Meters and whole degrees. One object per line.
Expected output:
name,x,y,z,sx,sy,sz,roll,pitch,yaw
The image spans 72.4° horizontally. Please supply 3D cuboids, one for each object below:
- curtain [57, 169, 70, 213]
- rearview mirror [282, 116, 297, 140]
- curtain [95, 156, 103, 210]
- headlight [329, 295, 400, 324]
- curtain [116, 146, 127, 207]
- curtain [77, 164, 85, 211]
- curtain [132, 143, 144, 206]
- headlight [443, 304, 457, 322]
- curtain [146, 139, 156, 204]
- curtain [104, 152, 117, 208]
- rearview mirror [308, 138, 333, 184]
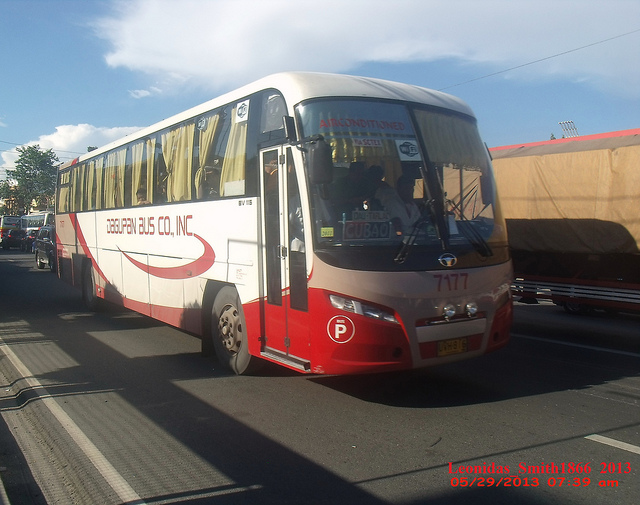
curtain,-8.339,-1.975,14.264,0.072,1.606,1.522,5,-2,-43
rearview mirror,-0.350,-1.437,5.051,0.141,0.282,0.084,0,1,-23
curtain,-5.806,-1.822,11.507,0.149,1.328,0.789,0,1,-32
headlight,0.461,0.607,4.704,0.724,0.292,0.083,0,1,2
curtain,-4.653,-1.880,10.277,0.388,1.494,0.105,-1,-2,22
curtain,-6.873,-1.860,12.650,0.124,1.332,0.573,0,1,-27
curtain,-3.972,-1.681,9.490,0.176,1.329,0.782,0,1,-31
headlight,1.445,0.671,4.937,0.182,0.271,0.085,-5,12,-32
curtain,-3.448,-1.654,8.901,0.127,1.291,0.569,0,1,-30
curtain,-5.166,-1.767,10.796,0.231,1.337,0.934,0,1,-32
rearview mirror,-0.028,-0.986,4.787,0.330,0.479,0.249,0,1,20
